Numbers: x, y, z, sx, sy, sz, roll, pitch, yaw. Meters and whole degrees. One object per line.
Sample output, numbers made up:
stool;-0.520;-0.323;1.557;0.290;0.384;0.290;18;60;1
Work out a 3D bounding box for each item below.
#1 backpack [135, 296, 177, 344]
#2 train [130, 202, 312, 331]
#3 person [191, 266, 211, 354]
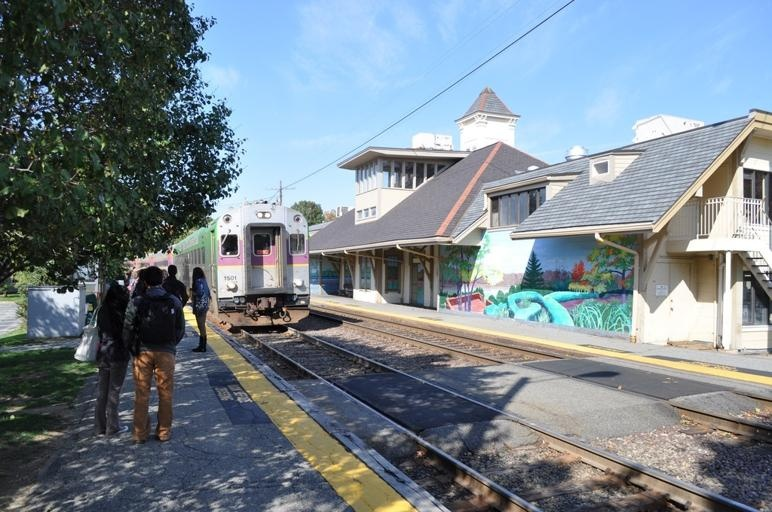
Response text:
backpack;-3.480;0.948;7.733;0.526;0.791;0.411;5;-20;-31
train;-6.575;0.538;22.744;3.310;3.995;12.786;-1;-3;-22
person;-4.992;1.414;13.889;0.436;2.260;1.047;-1;4;-21
